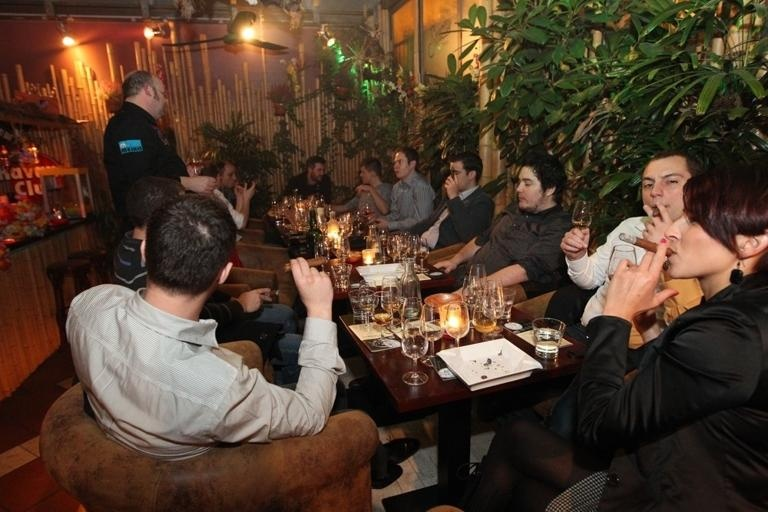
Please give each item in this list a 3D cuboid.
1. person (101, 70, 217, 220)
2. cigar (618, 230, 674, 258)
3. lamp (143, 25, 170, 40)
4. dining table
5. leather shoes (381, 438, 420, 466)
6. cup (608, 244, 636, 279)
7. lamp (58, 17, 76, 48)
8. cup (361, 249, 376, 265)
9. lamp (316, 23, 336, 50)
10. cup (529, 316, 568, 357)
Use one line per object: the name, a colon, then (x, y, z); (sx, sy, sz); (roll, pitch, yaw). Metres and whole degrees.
person: (-1.783, -0.571, 4.128); (0.748, 1.649, 0.650); (-4, 31, -28)
cigar: (1.311, -0.054, 2.574); (0.081, 0.069, 0.401); (1, 16, -25)
lamp: (-3.128, -3.028, 6.997); (0.286, 0.162, 0.382); (7, 23, 0)
dining table: (0.414, 0.659, 2.996); (1.173, 1.089, 1.143); (-7, 16, -25)
leather shoes: (0.107, 1.157, 3.150); (0.303, 0.118, 0.108); (-9, 11, -41)
cup: (1.202, 0.045, 2.613); (0.119, 0.158, 0.122); (-1, 0, 0)
lamp: (-4.129, -2.888, 6.695); (0.178, 0.337, 0.148); (-17, 23, -34)
cup: (-0.129, 0.017, 3.993); (0.113, 0.123, 0.112); (1, 2, 0)
lamp: (-0.862, -3.301, 7.757); (0.280, 0.348, 0.432); (-6, 18, -8)
cup: (0.851, 0.415, 2.709); (0.188, 0.185, 0.177); (1, 6, 0)
